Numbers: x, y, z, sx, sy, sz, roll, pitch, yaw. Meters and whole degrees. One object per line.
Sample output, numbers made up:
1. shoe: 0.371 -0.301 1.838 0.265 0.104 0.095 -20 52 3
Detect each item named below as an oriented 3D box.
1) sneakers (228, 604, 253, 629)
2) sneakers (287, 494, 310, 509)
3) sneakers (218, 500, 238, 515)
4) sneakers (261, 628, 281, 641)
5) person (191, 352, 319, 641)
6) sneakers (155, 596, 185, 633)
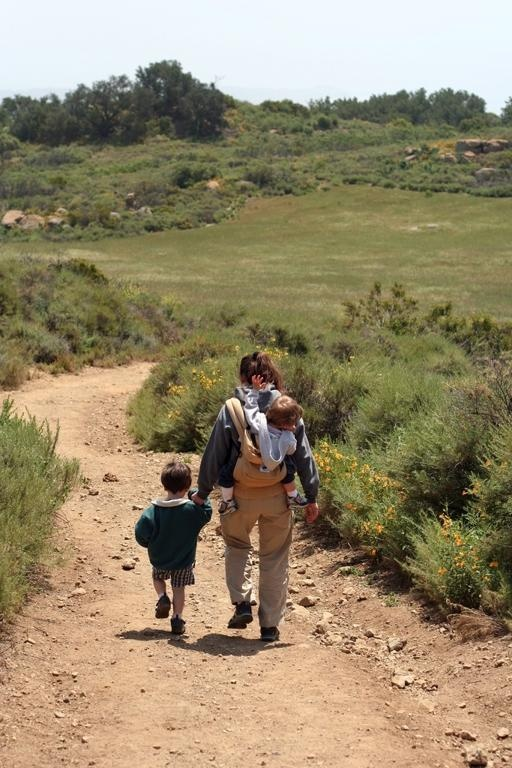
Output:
1. sneakers: -0.085 1.307 4.942 0.085 0.105 0.219 6 -26 -7
2. sneakers: 0.233 0.651 4.898 0.121 0.086 0.053 0 5 -11
3. sneakers: -0.160 0.673 4.800 0.048 0.062 0.125 -32 6 -27
4. sneakers: 0.080 1.424 5.035 0.051 0.064 0.146 2 -1 9
5. person: -0.050 0.654 4.911 0.439 1.629 0.491 10 9 39
6. sneakers: -0.486 1.303 4.992 0.102 0.282 0.119 -9 -2 -11
